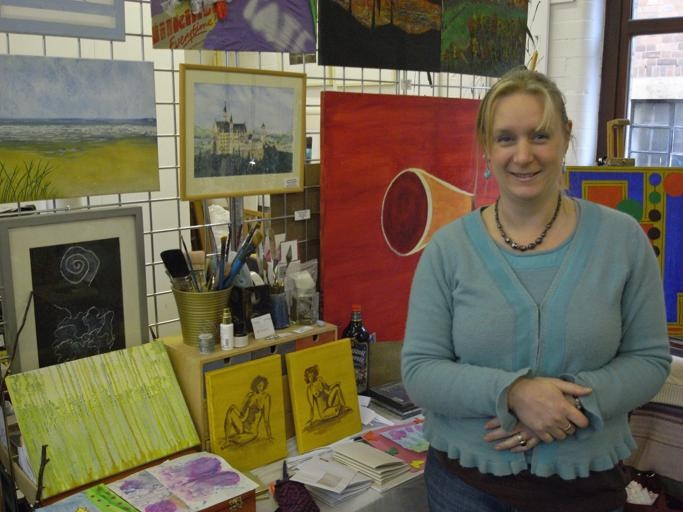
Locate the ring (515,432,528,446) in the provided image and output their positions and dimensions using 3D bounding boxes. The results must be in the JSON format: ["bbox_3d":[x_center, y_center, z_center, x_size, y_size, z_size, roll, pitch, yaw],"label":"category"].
[{"bbox_3d":[0.363,0.371,1.065,0.019,0.026,0.009,2,19,10],"label":"ring"}]

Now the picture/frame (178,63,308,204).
[{"bbox_3d":[-0.317,-0.391,1.737,0.472,0.424,0.016,-9,25,-38],"label":"picture/frame"}]

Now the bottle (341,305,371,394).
[{"bbox_3d":[0.044,0.330,1.885,0.091,0.298,0.111,0,5,-1],"label":"bottle"}]

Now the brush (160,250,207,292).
[{"bbox_3d":[-0.465,0.040,1.540,0.107,0.130,0.075,-5,7,-15],"label":"brush"}]

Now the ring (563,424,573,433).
[{"bbox_3d":[0.445,0.338,1.040,0.017,0.013,0.017,-24,30,15],"label":"ring"}]
